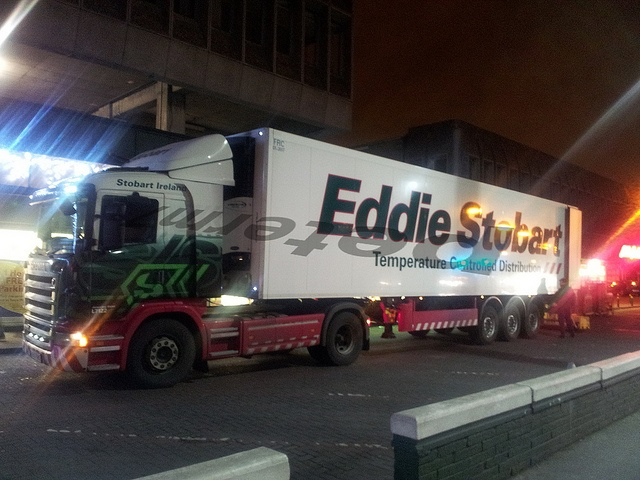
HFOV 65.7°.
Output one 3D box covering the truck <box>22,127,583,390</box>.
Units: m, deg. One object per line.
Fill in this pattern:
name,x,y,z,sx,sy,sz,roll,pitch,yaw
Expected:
truck,2.058,0.580,14.171,18.008,5.061,3.333,3,-4,-40
